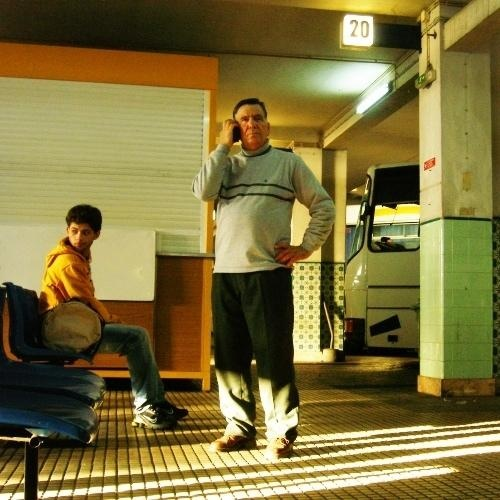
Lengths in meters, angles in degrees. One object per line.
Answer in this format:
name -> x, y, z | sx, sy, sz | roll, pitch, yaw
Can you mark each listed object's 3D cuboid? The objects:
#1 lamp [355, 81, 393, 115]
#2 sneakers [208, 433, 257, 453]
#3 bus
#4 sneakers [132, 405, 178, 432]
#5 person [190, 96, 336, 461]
lamp -> 1.750, -2.210, 8.626 | 0.176, 0.430, 1.028 | 1, 1, -9
sneakers -> -0.087, 1.002, 3.170 | 0.248, 0.114, 0.090 | 5, -5, -18
bus -> 2.198, 0.067, 9.997 | 1.265, 3.112, 0.782 | 1, 0, 21
sneakers -> -0.594, 1.037, 3.738 | 0.285, 0.145, 0.120 | 1, -3, 12
person -> 0.064, 0.125, 3.198 | 0.745, 1.889, 0.400 | 1, 0, -5
